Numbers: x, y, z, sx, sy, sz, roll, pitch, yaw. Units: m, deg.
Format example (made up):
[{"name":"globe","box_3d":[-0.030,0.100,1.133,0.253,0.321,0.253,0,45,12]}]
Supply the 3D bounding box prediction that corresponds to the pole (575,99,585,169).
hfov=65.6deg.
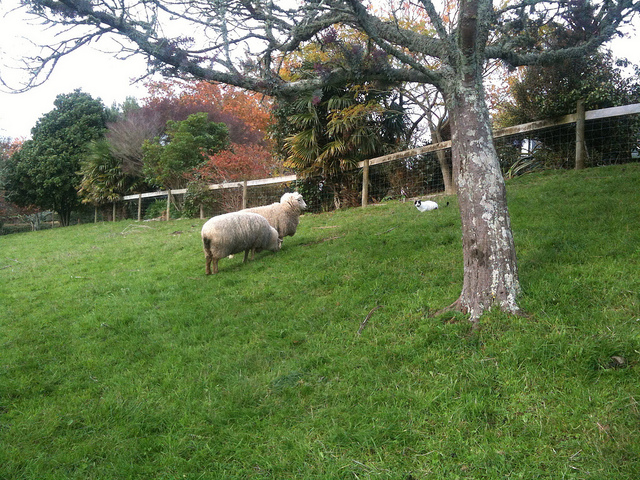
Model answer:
[{"name":"pole","box_3d":[6.224,-2.523,11.914,0.235,1.627,0.484,-2,5,31]}]

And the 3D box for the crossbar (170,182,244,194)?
[{"name":"crossbar","box_3d":[-4.944,-2.165,20.803,5.375,0.256,0.380,-2,6,45]}]

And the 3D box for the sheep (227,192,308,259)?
[{"name":"sheep","box_3d":[-1.292,-0.099,12.735,2.447,2.077,0.925,-11,-9,-19]}]

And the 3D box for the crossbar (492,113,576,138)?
[{"name":"crossbar","box_3d":[5.443,-2.920,12.654,1.926,0.262,0.323,-4,5,34]}]

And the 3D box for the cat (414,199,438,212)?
[{"name":"cat","box_3d":[2.680,-0.871,12.592,0.613,0.388,0.225,1,-10,7]}]

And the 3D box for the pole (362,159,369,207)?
[{"name":"pole","box_3d":[1.450,-1.822,15.827,0.310,1.448,0.435,-5,4,6]}]
